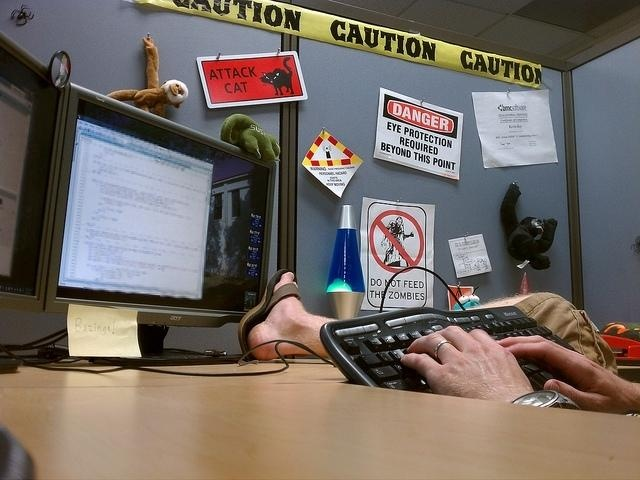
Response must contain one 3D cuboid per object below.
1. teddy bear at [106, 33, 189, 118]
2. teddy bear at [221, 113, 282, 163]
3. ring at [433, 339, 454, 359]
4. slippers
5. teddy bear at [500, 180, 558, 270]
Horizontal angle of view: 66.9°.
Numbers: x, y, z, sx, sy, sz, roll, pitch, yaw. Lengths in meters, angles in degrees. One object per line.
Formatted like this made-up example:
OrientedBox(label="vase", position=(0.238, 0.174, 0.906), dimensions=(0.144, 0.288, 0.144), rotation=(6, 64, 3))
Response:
OrientedBox(label="teddy bear", position=(-0.347, -0.333, 0.987), dimensions=(0.145, 0.205, 0.060), rotation=(5, -11, -21))
OrientedBox(label="teddy bear", position=(-0.129, -0.222, 1.010), dimensions=(0.118, 0.070, 0.164), rotation=(4, -7, -3))
OrientedBox(label="ring", position=(0.144, 0.125, 0.558), dimensions=(0.018, 0.024, 0.008), rotation=(0, -5, -14))
OrientedBox(label="slippers", position=(-0.101, 0.134, 0.969), dimensions=(0.071, 0.202, 0.058), rotation=(35, -31, -21))
OrientedBox(label="teddy bear", position=(0.543, -0.038, 1.243), dimensions=(0.143, 0.230, 0.069), rotation=(1, -5, -27))
